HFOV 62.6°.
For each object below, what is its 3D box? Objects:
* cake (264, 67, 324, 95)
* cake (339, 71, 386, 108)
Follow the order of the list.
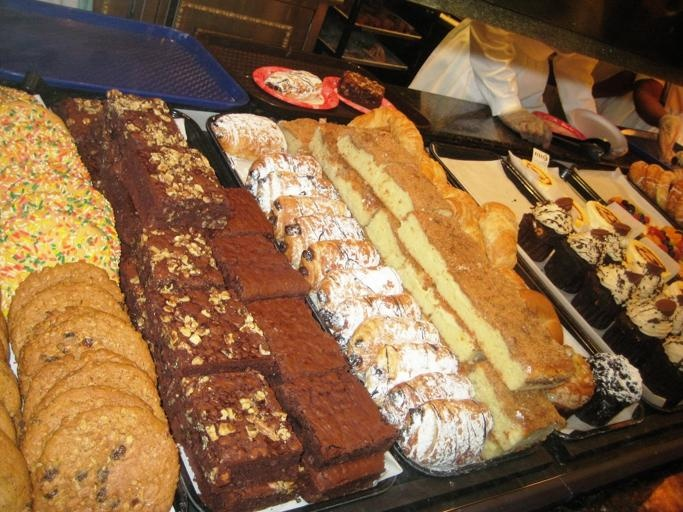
[{"bbox_3d":[-0.335,-1.276,4.085,0.327,0.091,0.228,-7,42,-27],"label":"cake"},{"bbox_3d":[0.166,-1.289,4.526,0.381,0.173,0.273,28,41,3],"label":"cake"}]
